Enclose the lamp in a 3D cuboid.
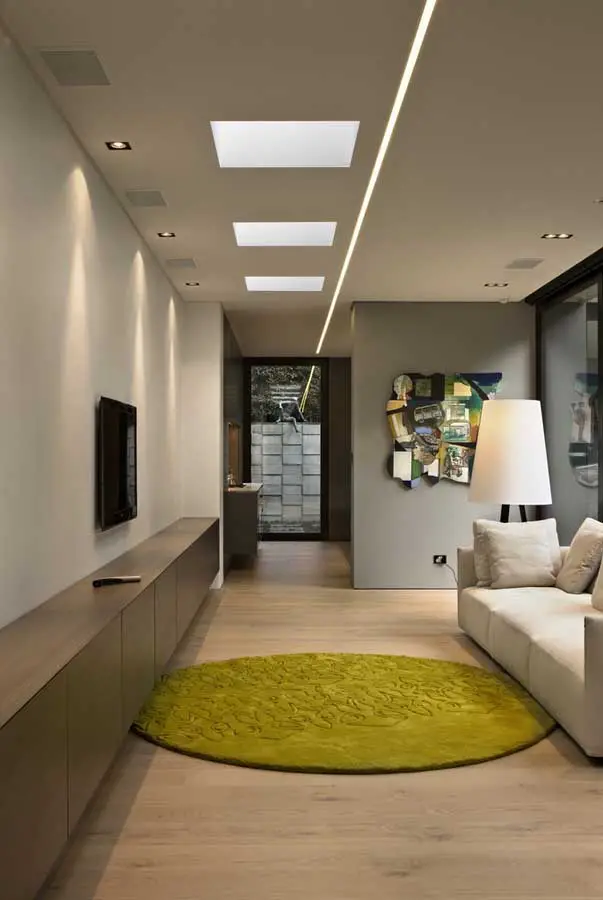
[{"bbox_3d":[1.510,-0.035,4.452,0.514,0.786,0.515,2,20,29],"label":"lamp"}]
